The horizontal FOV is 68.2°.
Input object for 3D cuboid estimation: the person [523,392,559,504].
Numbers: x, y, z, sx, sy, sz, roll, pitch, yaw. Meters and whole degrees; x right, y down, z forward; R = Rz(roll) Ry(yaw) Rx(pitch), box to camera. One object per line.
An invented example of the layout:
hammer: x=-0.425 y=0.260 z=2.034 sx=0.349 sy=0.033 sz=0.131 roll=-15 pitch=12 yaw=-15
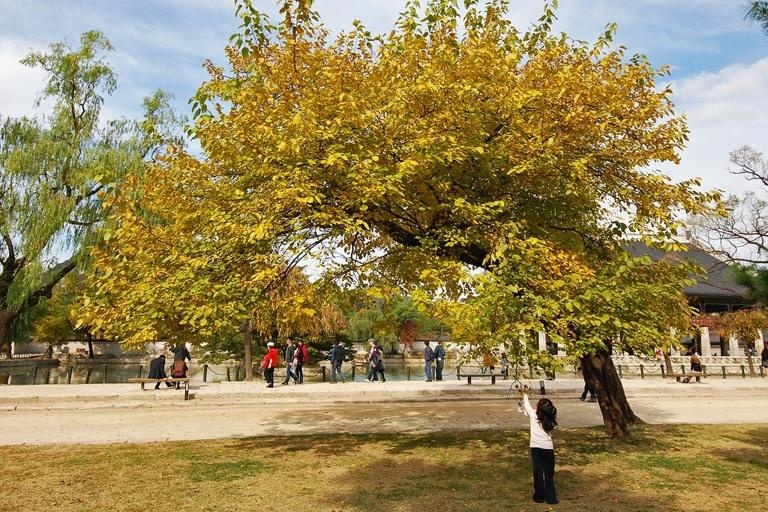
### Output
person: x=3.239 y=4.027 z=11.754 sx=0.597 sy=2.185 sz=0.729 roll=-2 pitch=-5 yaw=12

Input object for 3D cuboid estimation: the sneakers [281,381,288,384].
sneakers: x=-4.510 y=5.787 z=25.587 sx=0.308 sy=0.125 sz=0.575 roll=0 pitch=-5 yaw=-14

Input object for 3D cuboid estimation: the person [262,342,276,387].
person: x=-5.032 y=4.796 z=24.684 sx=0.552 sy=1.938 sz=1.313 roll=0 pitch=-5 yaw=-12
